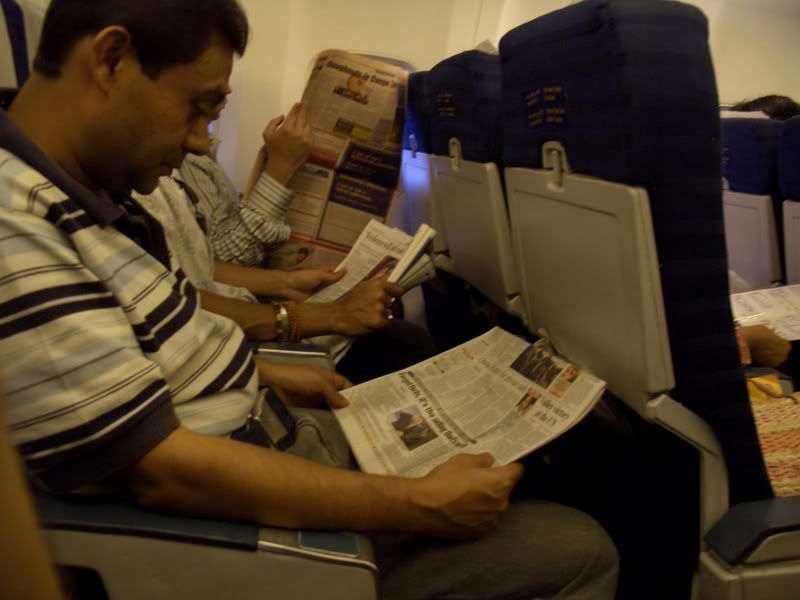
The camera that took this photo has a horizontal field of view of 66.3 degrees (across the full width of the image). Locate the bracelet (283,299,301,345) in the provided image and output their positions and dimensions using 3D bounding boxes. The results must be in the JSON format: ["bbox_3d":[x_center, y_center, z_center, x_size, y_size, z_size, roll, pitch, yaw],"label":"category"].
[{"bbox_3d":[-0.290,0.062,1.659,0.031,0.072,0.086,-2,5,4],"label":"bracelet"}]

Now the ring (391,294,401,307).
[{"bbox_3d":[-0.023,0.007,2.507,0.031,0.045,0.045,2,-17,-9],"label":"ring"}]
